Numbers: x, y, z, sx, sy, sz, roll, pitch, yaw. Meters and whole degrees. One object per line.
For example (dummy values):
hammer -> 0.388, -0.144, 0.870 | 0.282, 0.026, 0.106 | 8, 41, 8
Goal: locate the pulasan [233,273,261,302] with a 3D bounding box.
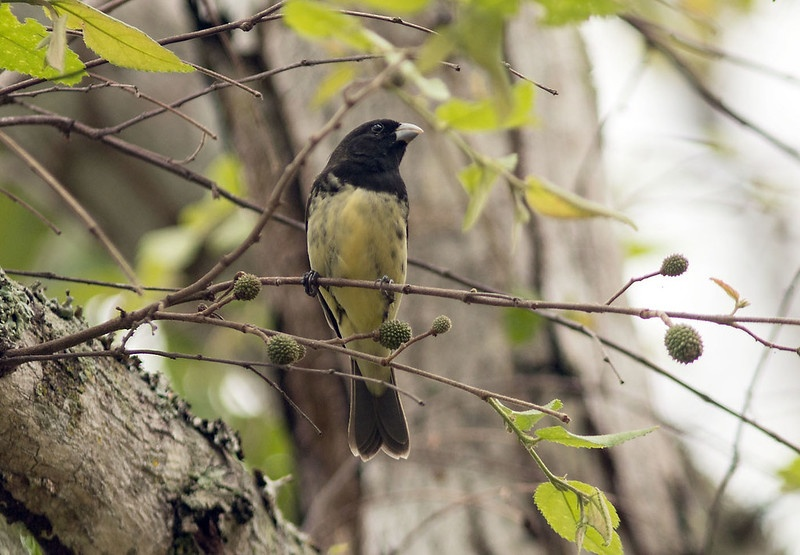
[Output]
pulasan -> -0.667, 0.044, 4.503 | 0.110, 0.108, 0.115 | 2, -96, 12

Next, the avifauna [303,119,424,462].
avifauna -> -0.228, 0.137, 6.209 | 0.659, 0.688, 2.194 | 1, -82, -19

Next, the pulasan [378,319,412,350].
pulasan -> -0.019, 0.273, 4.785 | 0.134, 0.120, 0.137 | -1, -51, 23

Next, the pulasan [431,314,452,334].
pulasan -> 0.188, 0.229, 4.586 | 0.096, 0.069, 0.066 | -24, -68, 20

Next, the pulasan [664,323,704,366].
pulasan -> 1.188, 0.273, 4.261 | 0.153, 0.173, 0.229 | -1, -61, 9
